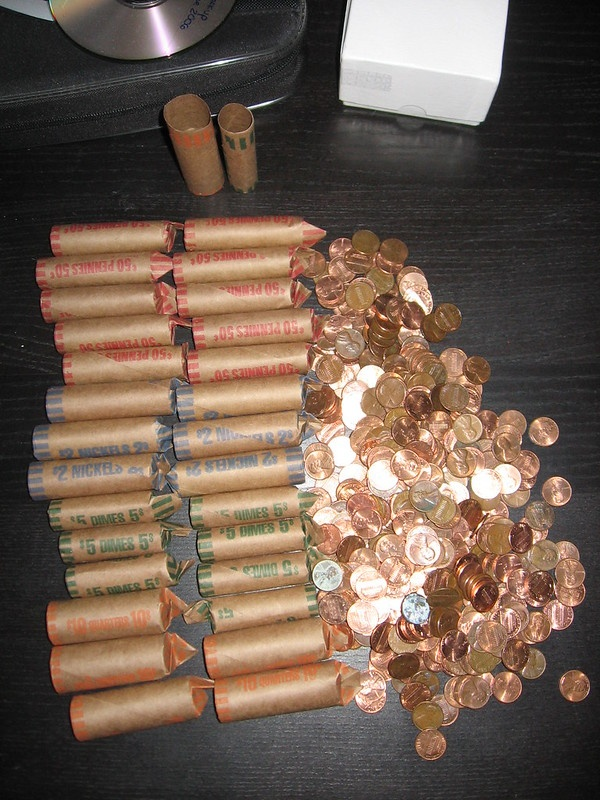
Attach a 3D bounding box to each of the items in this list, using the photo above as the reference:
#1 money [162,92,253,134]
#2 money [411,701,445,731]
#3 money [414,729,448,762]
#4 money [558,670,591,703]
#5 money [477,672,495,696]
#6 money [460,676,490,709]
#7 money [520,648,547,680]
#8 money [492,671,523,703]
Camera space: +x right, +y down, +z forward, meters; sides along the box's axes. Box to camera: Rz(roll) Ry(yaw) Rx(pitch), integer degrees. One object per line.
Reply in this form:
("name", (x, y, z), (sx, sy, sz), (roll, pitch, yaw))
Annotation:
("money", (-0.176, -0.555, 1.531), (0.191, 0.125, 0.086), (-3, 82, -7))
("money", (0.244, 0.598, 1.433), (0.059, 0.022, 0.055), (-12, 81, 1))
("money", (0.246, 0.650, 1.433), (0.056, 0.018, 0.053), (-2, 82, 2))
("money", (0.538, 0.560, 1.487), (0.058, 0.013, 0.054), (-1, 82, 2))
("money", (0.362, 0.543, 1.458), (0.011, 0.047, 0.043), (1, 90, 33))
("money", (0.333, 0.563, 1.454), (0.059, 0.041, 0.066), (2, 82, 3))
("money", (0.452, 0.515, 1.476), (0.061, 0.013, 0.055), (18, 77, -12))
("money", (0.398, 0.553, 1.463), (0.054, 0.018, 0.055), (2, 82, 3))
